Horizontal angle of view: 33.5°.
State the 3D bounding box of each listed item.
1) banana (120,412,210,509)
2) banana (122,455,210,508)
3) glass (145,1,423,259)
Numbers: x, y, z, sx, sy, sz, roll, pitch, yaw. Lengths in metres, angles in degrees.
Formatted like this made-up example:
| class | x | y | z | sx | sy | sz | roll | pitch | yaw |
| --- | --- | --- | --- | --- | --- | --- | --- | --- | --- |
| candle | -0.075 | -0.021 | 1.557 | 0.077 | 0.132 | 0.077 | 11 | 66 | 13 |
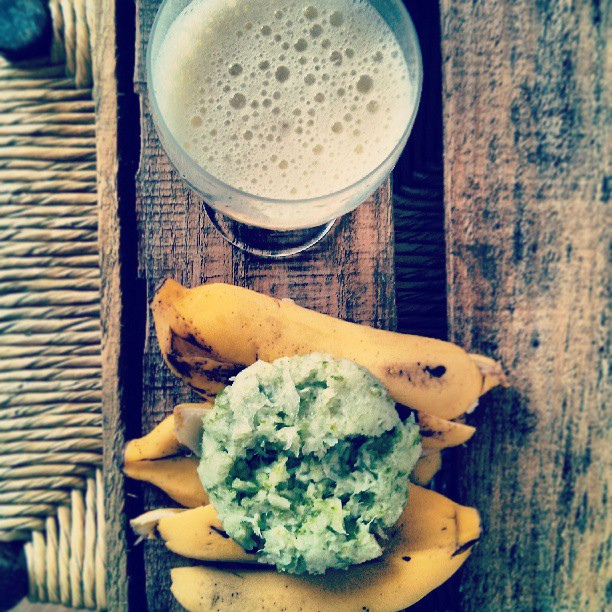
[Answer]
| class | x | y | z | sx | sy | sz | roll | pitch | yaw |
| --- | --- | --- | --- | --- | --- | --- | --- | --- | --- |
| banana | -0.183 | 0.208 | 1.321 | 0.110 | 0.033 | 0.111 | 6 | 93 | 2 |
| banana | -0.184 | 0.225 | 1.320 | 0.097 | 0.029 | 0.070 | 10 | 95 | 8 |
| glass | -0.021 | -0.198 | 1.169 | 0.228 | 0.221 | 0.318 | -5 | 92 | -7 |
